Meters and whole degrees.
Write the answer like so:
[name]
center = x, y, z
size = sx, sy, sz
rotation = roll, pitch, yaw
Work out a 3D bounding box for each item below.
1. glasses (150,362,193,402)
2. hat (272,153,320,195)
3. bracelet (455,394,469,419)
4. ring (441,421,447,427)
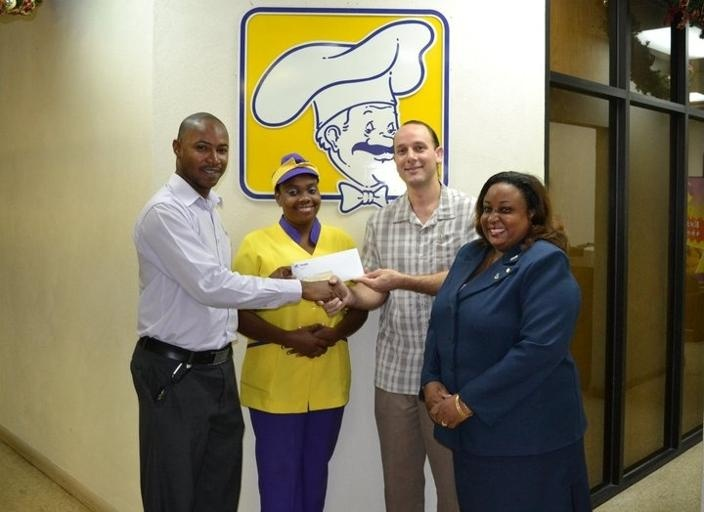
[glasses]
center = -0.979, 0.696, 3.454
size = 0.206, 0.060, 0.155
rotation = -51, 5, -11
[hat]
center = -0.351, -0.504, 3.685
size = 0.189, 0.147, 0.260
rotation = -15, -5, -9
[bracelet]
center = 0.567, 0.783, 3.254
size = 0.037, 0.103, 0.081
rotation = -22, 13, -9
[ring]
center = 0.486, 0.889, 3.303
size = 0.040, 0.034, 0.032
rotation = 6, -8, -42
